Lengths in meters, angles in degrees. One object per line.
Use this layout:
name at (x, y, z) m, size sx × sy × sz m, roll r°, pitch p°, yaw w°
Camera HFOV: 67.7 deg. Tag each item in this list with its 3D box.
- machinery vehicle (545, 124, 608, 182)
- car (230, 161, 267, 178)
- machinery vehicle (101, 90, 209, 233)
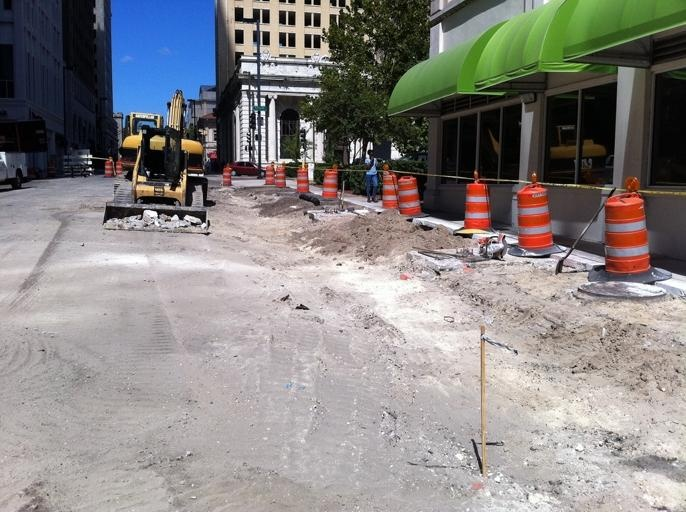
machinery vehicle at (5.721, -2.486, 12.477) m, size 1.145 × 1.180 × 1.901 m, roll -30°, pitch 29°, yaw -33°
car at (-8.784, -8.009, 47.473) m, size 2.846 × 1.046 × 1.444 m, roll -2°, pitch 12°, yaw -7°
machinery vehicle at (-6.637, -3.648, 18.765) m, size 2.608 × 3.970 × 7.783 m, roll -12°, pitch 3°, yaw -14°
